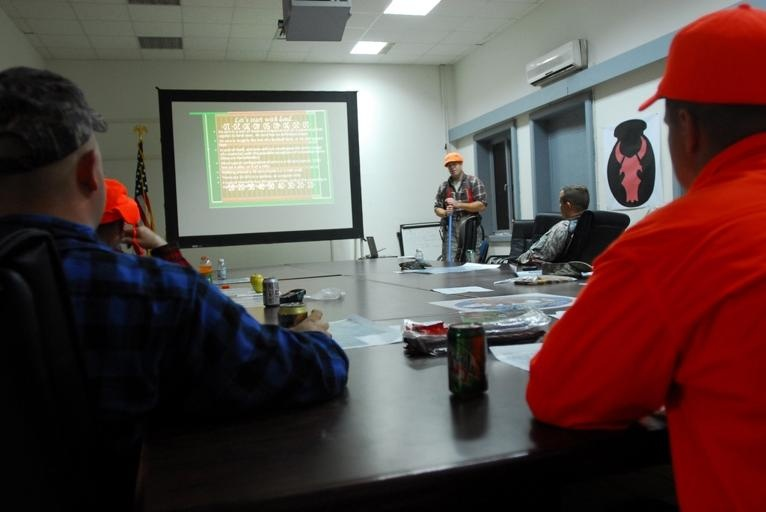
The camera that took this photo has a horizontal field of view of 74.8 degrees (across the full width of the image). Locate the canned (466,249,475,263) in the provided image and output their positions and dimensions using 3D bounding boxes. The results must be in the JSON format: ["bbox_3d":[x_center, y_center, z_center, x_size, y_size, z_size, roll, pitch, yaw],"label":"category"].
[{"bbox_3d":[0.692,0.007,4.004,0.065,0.078,0.119,-3,-3,9],"label":"canned"}]

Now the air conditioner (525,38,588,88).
[{"bbox_3d":[1.825,-2.030,5.325,0.226,0.266,0.724,-13,6,-22],"label":"air conditioner"}]

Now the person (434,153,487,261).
[{"bbox_3d":[0.837,-0.356,5.630,0.607,1.495,0.490,1,12,18],"label":"person"}]

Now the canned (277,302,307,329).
[{"bbox_3d":[-0.275,0.175,1.503,0.080,0.074,0.079,0,-2,-9],"label":"canned"}]

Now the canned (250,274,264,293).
[{"bbox_3d":[-0.615,0.138,2.440,0.071,0.096,0.074,-4,-9,-26],"label":"canned"}]
